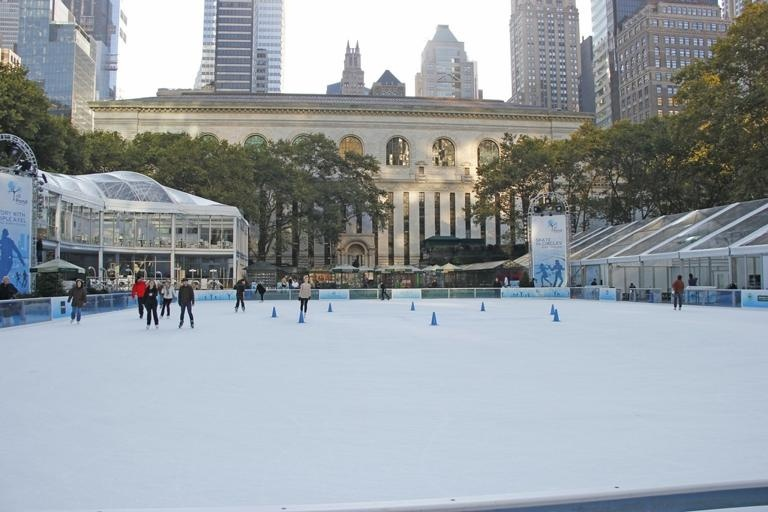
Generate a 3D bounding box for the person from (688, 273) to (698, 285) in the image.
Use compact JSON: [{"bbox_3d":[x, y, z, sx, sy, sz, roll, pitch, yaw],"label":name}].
[{"bbox_3d":[28.656,2.141,97.819,0.710,1.670,0.954,0,34,22],"label":"person"}]
